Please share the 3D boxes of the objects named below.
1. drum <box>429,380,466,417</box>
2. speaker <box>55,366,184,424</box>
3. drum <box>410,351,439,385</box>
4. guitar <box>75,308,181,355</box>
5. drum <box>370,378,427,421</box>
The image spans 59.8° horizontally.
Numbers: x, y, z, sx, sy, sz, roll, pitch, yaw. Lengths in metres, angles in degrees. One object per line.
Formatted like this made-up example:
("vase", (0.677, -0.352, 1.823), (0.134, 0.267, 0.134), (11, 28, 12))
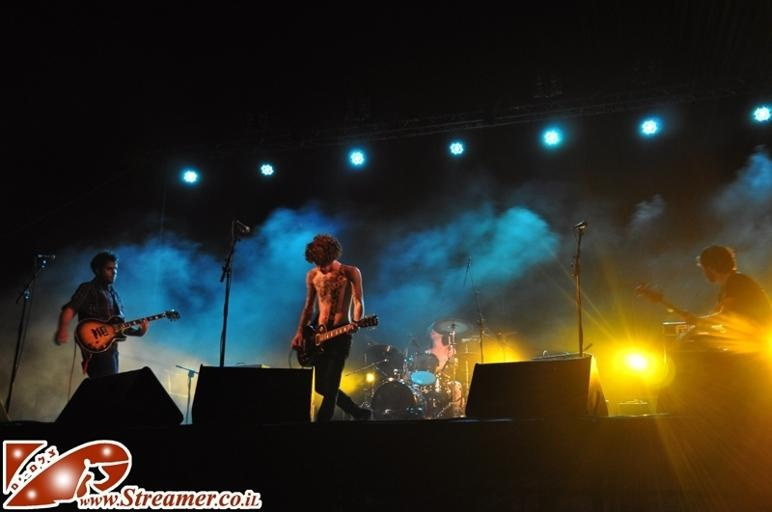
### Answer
("drum", (1.099, 2.559, 11.977), (0.622, 0.752, 0.376), (-4, -33, 4))
("speaker", (-2.947, 1.634, 7.463), (1.073, 0.562, 0.765), (-10, -35, 17))
("drum", (0.704, 2.167, 12.400), (0.478, 0.525, 0.507), (-17, -49, 22))
("guitar", (-4.162, 1.125, 10.707), (0.183, 0.596, 1.628), (-27, -6, 43))
("drum", (0.174, 2.513, 11.747), (0.905, 0.725, 0.501), (-2, -32, 0))
